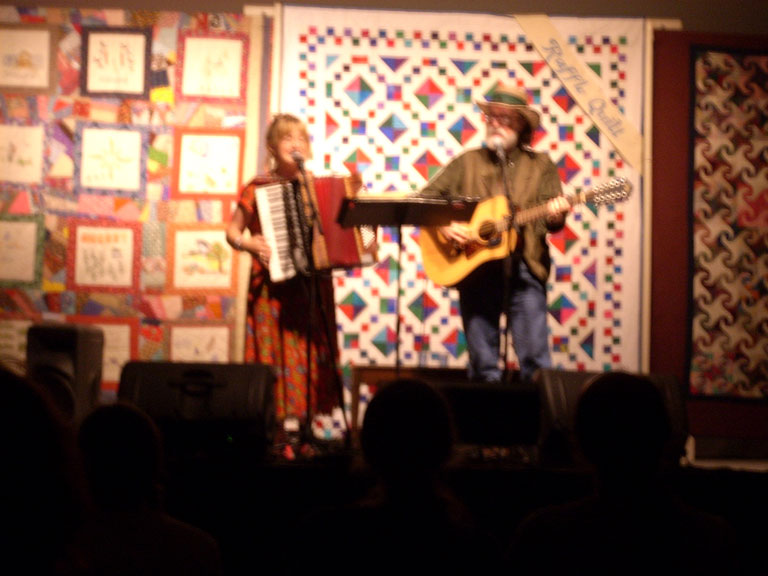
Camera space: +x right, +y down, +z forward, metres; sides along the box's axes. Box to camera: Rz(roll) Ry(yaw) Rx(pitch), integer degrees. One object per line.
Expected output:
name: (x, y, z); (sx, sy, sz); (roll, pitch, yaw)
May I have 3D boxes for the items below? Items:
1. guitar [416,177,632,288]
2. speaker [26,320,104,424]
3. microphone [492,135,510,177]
guitar: (0.710, -0.333, 4.748); (1.413, 0.626, 0.215); (-15, 2, 4)
speaker: (-1.844, 0.486, 4.479); (0.276, 0.310, 0.522); (2, 12, -3)
microphone: (0.748, -0.864, 5.076); (0.152, 0.220, 0.060); (-6, 3, -3)
